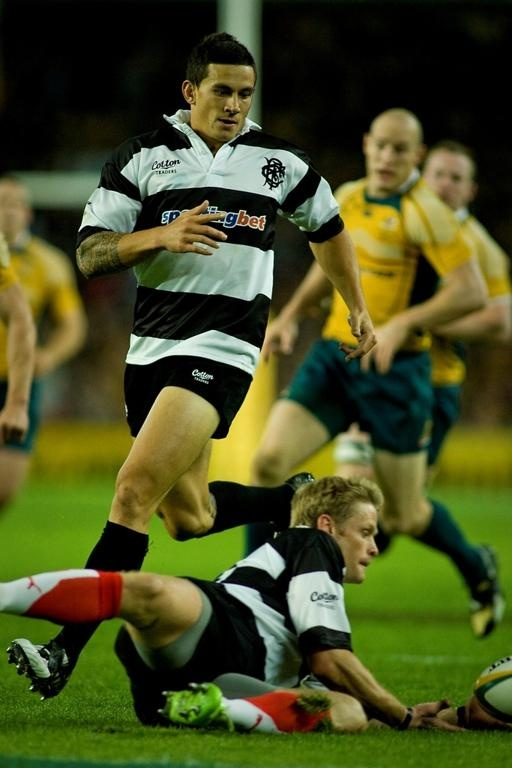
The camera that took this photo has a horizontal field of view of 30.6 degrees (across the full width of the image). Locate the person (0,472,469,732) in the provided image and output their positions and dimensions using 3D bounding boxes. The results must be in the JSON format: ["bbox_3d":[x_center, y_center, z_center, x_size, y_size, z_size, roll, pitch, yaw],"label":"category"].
[{"bbox_3d":[-0.016,0.546,2.356,1.202,0.506,0.566,3,53,-5],"label":"person"}]

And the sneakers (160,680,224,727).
[{"bbox_3d":[-0.129,0.694,2.036,0.139,0.088,0.055,5,4,9],"label":"sneakers"}]

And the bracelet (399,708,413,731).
[{"bbox_3d":[0.370,0.820,2.293,0.050,0.048,0.053,4,-9,4],"label":"bracelet"}]

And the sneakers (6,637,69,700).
[{"bbox_3d":[-0.519,0.664,2.276,0.106,0.113,0.203,-19,14,-22],"label":"sneakers"}]

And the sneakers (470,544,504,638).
[{"bbox_3d":[1.035,0.913,4.162,0.161,0.390,0.187,10,-12,21],"label":"sneakers"}]
